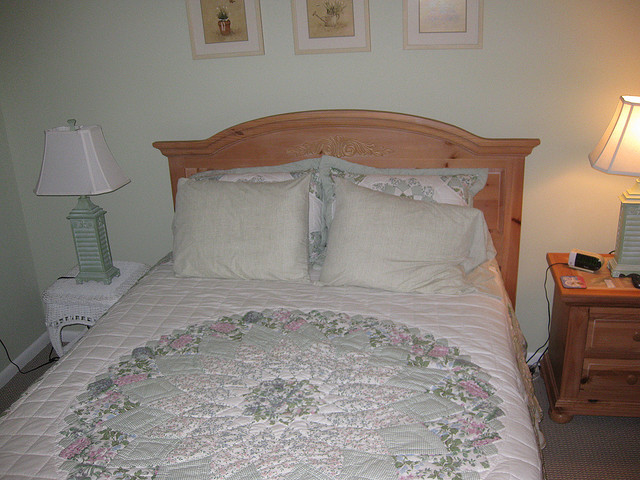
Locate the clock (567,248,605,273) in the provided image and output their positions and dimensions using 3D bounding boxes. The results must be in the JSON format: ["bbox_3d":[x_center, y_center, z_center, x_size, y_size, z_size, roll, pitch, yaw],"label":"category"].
[{"bbox_3d":[1.360,0.110,2.508,0.156,0.071,0.111,14,29,20],"label":"clock"}]

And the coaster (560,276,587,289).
[{"bbox_3d":[1.239,0.208,2.394,0.108,0.029,0.123,2,17,8],"label":"coaster"}]

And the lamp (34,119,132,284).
[{"bbox_3d":[-1.312,-0.196,2.804,0.548,0.905,0.460,-2,11,0],"label":"lamp"}]
